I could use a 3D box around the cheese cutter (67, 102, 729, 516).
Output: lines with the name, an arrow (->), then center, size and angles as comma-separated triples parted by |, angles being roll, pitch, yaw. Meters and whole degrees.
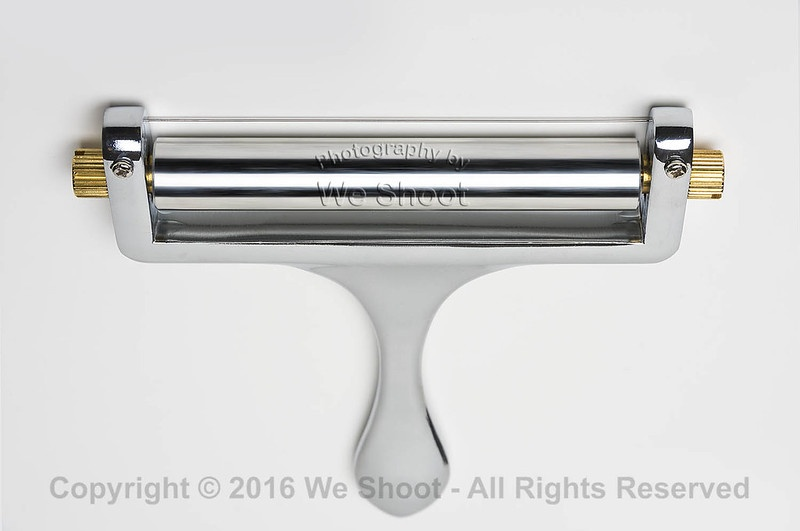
cheese cutter -> 0.000, 0.041, 0.804 | 0.409, 0.072, 0.297 | -1, -69, 2
